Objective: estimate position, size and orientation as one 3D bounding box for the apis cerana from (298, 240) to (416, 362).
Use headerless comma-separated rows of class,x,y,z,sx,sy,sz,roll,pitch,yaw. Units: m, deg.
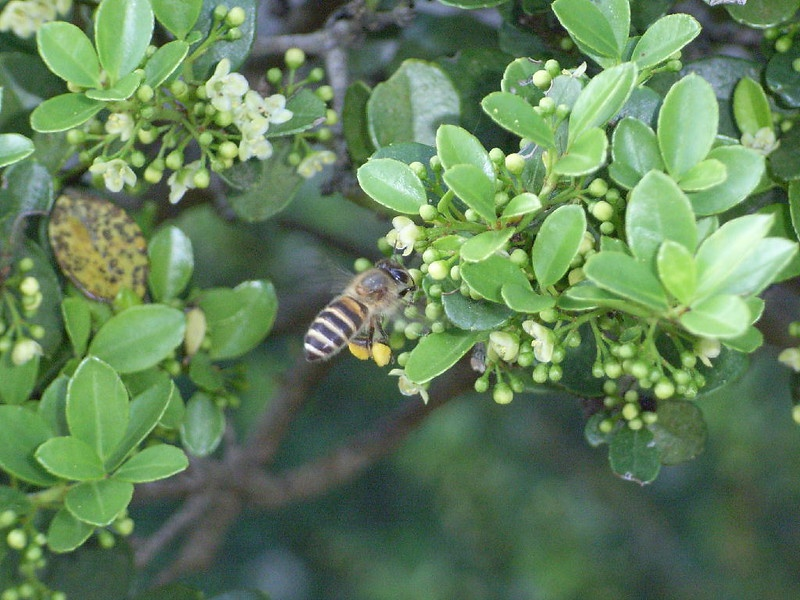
apis cerana,-0.131,0.047,2.483,0.322,0.098,0.317,-41,29,-7
